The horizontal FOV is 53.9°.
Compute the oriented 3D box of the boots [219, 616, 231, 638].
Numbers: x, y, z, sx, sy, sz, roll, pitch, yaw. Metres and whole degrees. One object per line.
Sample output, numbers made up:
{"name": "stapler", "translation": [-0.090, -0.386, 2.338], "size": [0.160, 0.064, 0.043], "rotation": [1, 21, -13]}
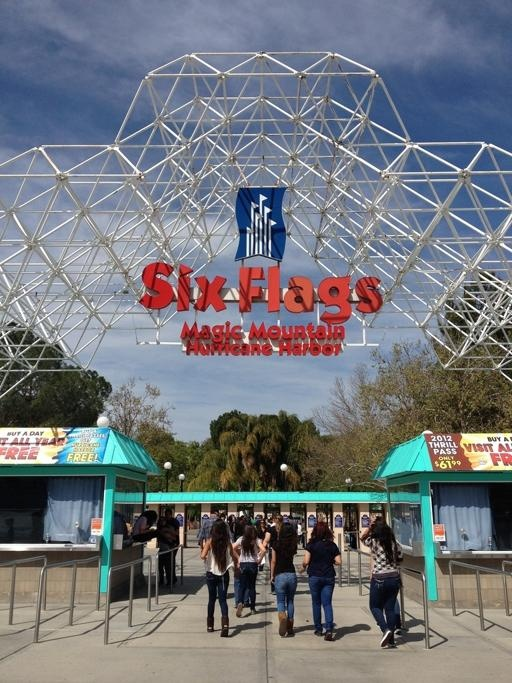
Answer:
{"name": "boots", "translation": [-0.471, 4.160, 7.318], "size": [0.135, 0.256, 0.378], "rotation": [1, -55, -6]}

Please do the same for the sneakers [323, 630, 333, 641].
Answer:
{"name": "sneakers", "translation": [1.020, 4.095, 7.047], "size": [0.094, 0.183, 0.186], "rotation": [5, -13, 0]}

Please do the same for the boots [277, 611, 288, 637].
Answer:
{"name": "boots", "translation": [0.399, 4.119, 7.395], "size": [0.109, 0.303, 0.199], "rotation": [0, -2, -10]}

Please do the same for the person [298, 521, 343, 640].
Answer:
{"name": "person", "translation": [0.973, 3.490, 7.435], "size": [0.537, 1.618, 0.661], "rotation": [-3, -15, 4]}

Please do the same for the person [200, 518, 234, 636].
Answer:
{"name": "person", "translation": [-0.591, 3.588, 7.780], "size": [0.505, 1.679, 1.125], "rotation": [-1, -15, -3]}

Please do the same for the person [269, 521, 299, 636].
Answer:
{"name": "person", "translation": [0.450, 3.676, 7.855], "size": [0.364, 1.618, 0.890], "rotation": [-2, -15, 2]}

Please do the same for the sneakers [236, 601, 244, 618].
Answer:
{"name": "sneakers", "translation": [-0.287, 4.722, 8.871], "size": [0.130, 0.372, 0.144], "rotation": [2, 14, -4]}

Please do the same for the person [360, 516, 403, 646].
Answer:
{"name": "person", "translation": [1.744, 3.268, 6.864], "size": [0.492, 1.654, 0.924], "rotation": [-5, -15, 12]}
